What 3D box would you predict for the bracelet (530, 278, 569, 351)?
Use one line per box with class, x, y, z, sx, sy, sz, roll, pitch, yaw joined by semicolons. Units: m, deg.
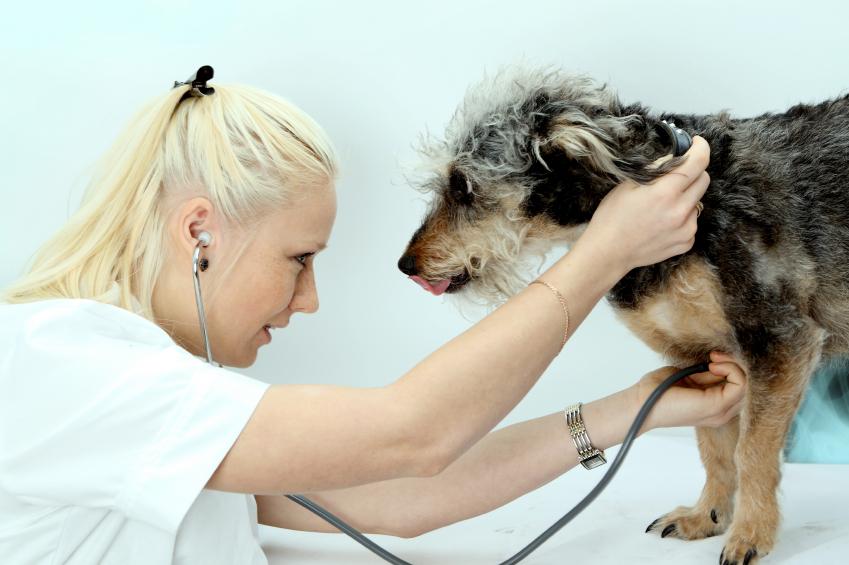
bracelet;0.445;0.095;2.857;0.191;0.185;0.050;-14;5;-32
